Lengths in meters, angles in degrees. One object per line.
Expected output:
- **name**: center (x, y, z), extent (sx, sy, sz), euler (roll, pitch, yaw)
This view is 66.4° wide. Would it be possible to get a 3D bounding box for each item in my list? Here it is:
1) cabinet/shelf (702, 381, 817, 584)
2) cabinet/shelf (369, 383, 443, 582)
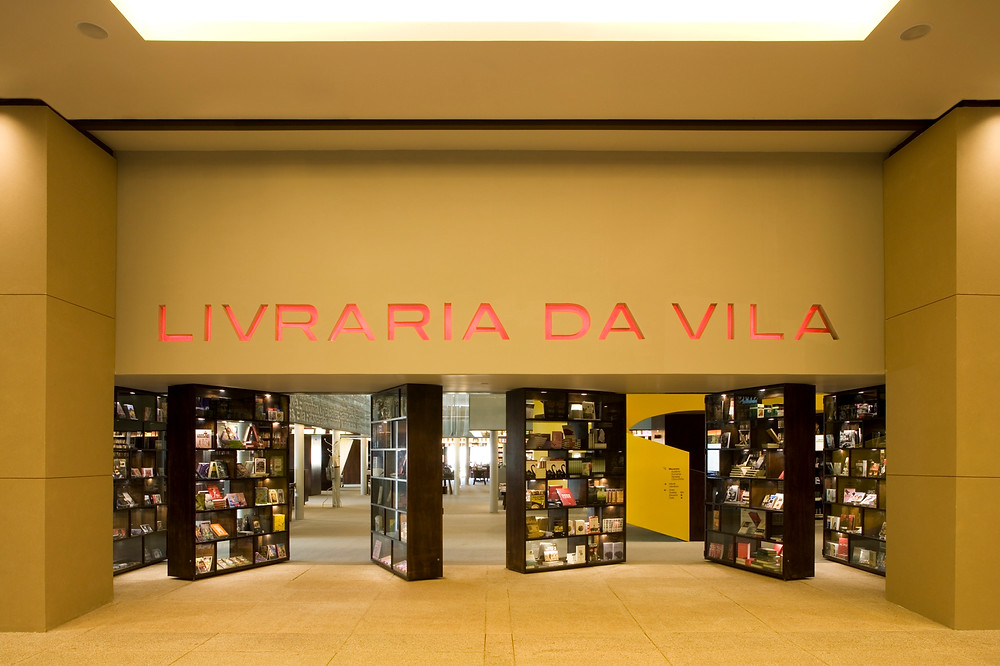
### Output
- **cabinet/shelf**: center (4.201, 2.418, 12.249), extent (0.702, 2.070, 3.051), euler (2, -3, -3)
- **cabinet/shelf**: center (-1.448, 2.389, 12.012), extent (0.512, 1.587, 2.602), euler (2, 34, -9)
